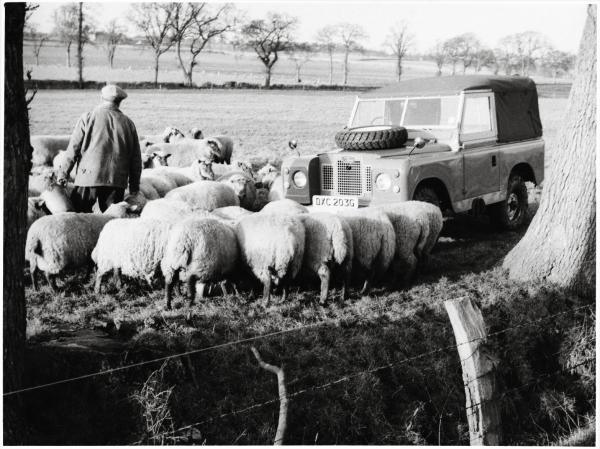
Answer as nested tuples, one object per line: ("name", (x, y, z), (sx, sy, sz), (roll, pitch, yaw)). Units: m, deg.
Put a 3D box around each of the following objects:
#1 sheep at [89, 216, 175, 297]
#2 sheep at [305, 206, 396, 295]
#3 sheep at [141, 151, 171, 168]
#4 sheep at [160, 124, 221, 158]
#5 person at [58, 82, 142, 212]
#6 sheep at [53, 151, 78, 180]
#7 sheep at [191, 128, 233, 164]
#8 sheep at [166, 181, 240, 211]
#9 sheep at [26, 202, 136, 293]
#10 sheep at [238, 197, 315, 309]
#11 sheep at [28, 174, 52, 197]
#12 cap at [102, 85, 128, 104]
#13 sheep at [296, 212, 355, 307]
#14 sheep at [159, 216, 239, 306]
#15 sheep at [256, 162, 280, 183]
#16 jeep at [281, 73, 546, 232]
("sheep", (-1.806, 0.401, 6.753), (1.324, 1.073, 0.703), (0, 5, -5))
("sheep", (0.669, 0.228, 7.455), (0.856, 1.245, 0.854), (-10, 20, -36))
("sheep", (-2.545, -1.130, 10.023), (0.549, 0.379, 0.270), (0, 6, 12))
("sheep", (-1.959, -1.413, 9.974), (1.110, 0.332, 0.604), (11, -33, -14))
("person", (-2.561, -0.959, 7.340), (1.005, 1.647, 0.424), (-2, 9, -26))
("sheep", (-3.084, -0.770, 7.531), (0.295, 0.447, 0.228), (-1, -15, 0))
("sheep", (-1.522, -1.295, 9.897), (0.296, 0.682, 1.082), (11, 4, 32))
("sheep", (-1.397, -0.432, 8.608), (0.458, 0.712, 1.136), (4, 4, 44))
("sheep", (-2.585, 0.311, 6.941), (0.513, 1.105, 1.514), (-1, 2, 33))
("sheep", (-0.329, 0.447, 6.690), (0.778, 1.156, 0.380), (1, 8, -8))
("sheep", (-3.436, -0.513, 7.521), (0.258, 0.269, 0.414), (-2, 10, -25))
("cap", (-2.438, -1.715, 7.459), (0.239, 0.120, 0.313), (-3, 29, -23))
("sheep", (0.166, 0.342, 7.337), (0.573, 1.193, 1.424), (-5, 6, -29))
("sheep", (-1.125, 0.415, 6.995), (0.715, 1.175, 1.581), (10, 4, 15))
("sheep", (-0.581, -0.950, 10.320), (0.343, 0.320, 0.313), (6, 1, 11))
("jeep", (2.261, -1.161, 9.692), (4.575, 2.882, 2.626), (-9, 10, -39))
